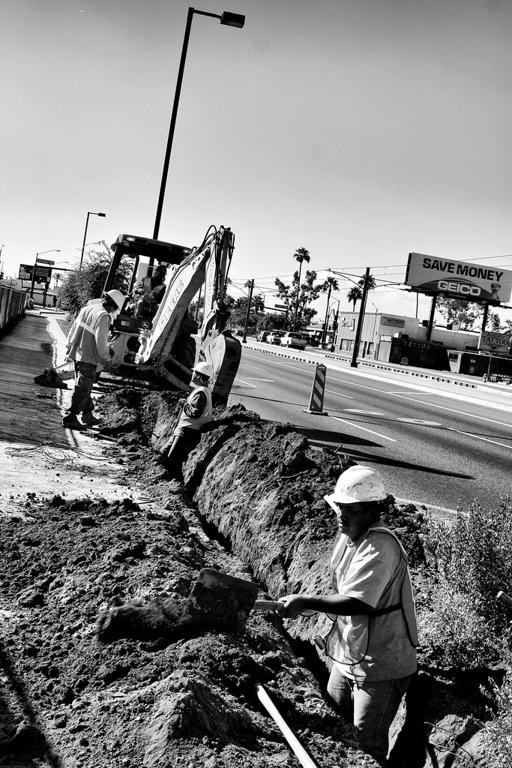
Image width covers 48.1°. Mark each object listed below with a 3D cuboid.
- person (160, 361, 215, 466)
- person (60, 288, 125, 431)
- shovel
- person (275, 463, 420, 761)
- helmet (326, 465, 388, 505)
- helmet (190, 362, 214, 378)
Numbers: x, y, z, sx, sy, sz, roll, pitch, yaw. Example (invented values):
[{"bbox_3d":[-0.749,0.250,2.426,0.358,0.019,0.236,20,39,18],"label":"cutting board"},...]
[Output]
[{"bbox_3d":[-0.927,0.465,7.750,0.691,1.499,1.290,0,1,-10],"label":"person"},{"bbox_3d":[-2.709,-0.438,9.370,0.860,2.297,0.866,0,1,-16],"label":"person"},{"bbox_3d":[-0.079,0.978,2.609,0.484,0.272,0.070,16,28,2],"label":"shovel"},{"bbox_3d":[0.432,1.071,2.509,0.493,1.436,0.548,0,1,26],"label":"person"},{"bbox_3d":[0.438,0.413,2.426,0.200,0.135,0.162,3,-3,-9],"label":"helmet"},{"bbox_3d":[-0.734,-0.179,7.974,0.249,0.144,0.184,19,21,-39],"label":"helmet"}]
